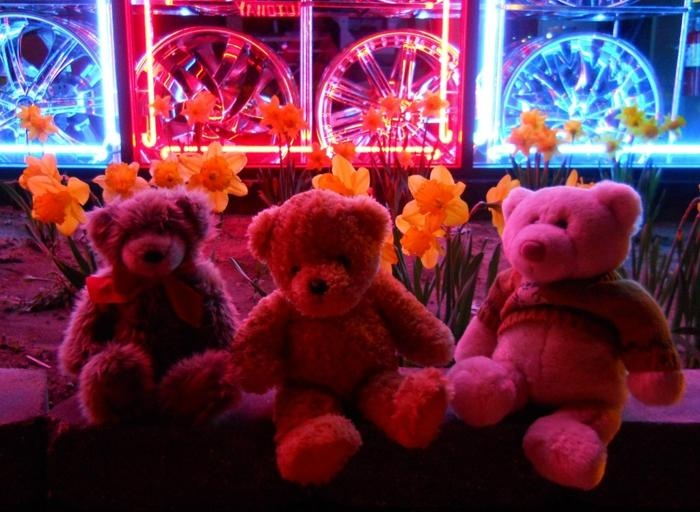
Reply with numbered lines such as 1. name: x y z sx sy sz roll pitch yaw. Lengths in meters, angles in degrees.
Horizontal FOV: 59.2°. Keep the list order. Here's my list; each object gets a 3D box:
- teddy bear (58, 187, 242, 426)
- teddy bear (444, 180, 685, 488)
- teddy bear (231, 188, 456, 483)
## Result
1. teddy bear: -0.487 0.116 1.534 0.440 0.557 0.319 0 10 -9
2. teddy bear: 0.523 0.213 1.496 0.558 0.737 0.398 0 16 8
3. teddy bear: -0.037 0.157 1.476 0.570 0.583 0.476 -5 20 2
